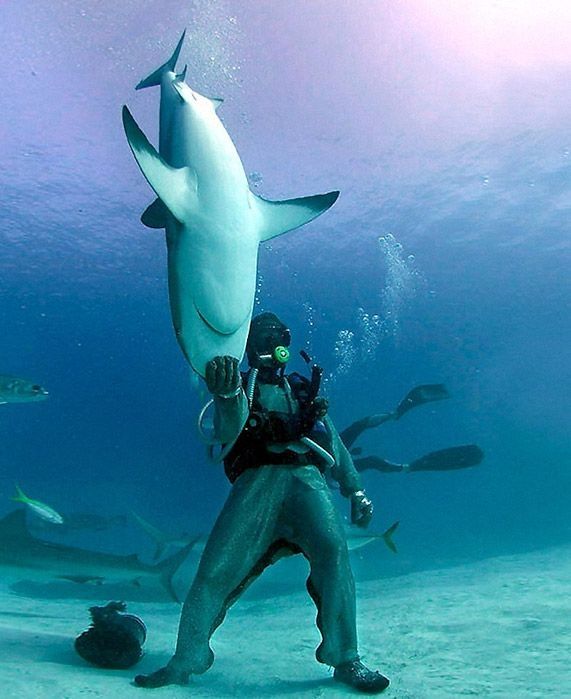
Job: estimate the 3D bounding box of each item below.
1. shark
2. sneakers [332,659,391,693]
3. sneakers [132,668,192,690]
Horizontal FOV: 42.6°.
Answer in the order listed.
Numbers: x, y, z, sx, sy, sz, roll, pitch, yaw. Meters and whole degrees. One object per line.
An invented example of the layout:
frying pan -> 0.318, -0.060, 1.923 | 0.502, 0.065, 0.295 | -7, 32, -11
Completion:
shark -> -0.558, -1.165, 5.441 | 1.468, 2.739, 0.616 | 5, -11, -20
sneakers -> 0.593, 2.616, 5.852 | 0.364, 0.122, 0.197 | 14, -30, 15
sneakers -> -1.000, 2.663, 5.933 | 0.378, 0.080, 0.177 | -8, -28, -12
